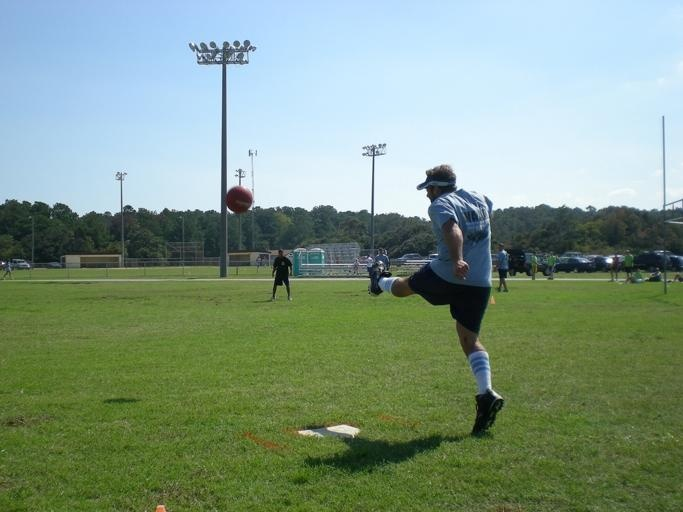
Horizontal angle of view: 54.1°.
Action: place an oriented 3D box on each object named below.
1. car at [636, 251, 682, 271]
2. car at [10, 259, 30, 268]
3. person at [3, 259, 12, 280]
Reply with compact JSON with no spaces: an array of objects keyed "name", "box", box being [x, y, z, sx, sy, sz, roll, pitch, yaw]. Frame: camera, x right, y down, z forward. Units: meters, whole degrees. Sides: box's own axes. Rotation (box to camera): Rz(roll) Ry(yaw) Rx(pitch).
[{"name":"car","box":[21.225,0.289,44.493,1.483,1.220,2.500,-3,6,-44]},{"name":"car","box":[-44.786,0.946,92.390,1.539,0.852,1.056,-3,-3,27]},{"name":"person","box":[-30.312,1.135,60.198,1.058,1.219,0.466,-1,-4,-22]}]
